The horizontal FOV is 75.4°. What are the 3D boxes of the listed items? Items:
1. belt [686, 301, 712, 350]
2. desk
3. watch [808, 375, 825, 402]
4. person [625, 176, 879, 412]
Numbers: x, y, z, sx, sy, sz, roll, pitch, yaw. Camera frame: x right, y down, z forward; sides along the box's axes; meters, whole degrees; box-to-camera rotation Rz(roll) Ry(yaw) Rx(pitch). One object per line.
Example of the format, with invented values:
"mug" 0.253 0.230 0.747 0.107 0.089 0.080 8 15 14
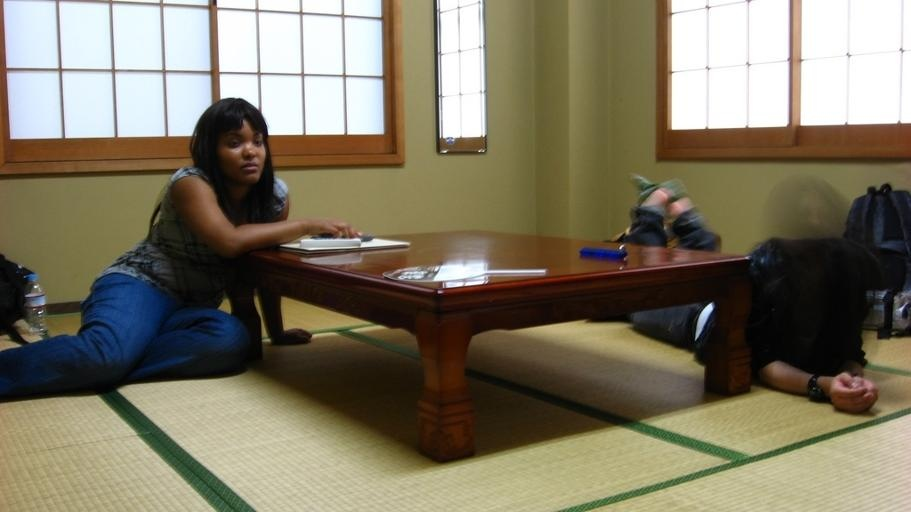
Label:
"belt" 1.154 0.325 2.781 0.055 0.194 0.219 15 -16 10
"desk" 0.200 0.281 2.660 1.956 0.621 1.135 -5 14 -18
"watch" 1.491 0.551 2.444 0.067 0.092 0.086 -12 29 12
"person" 1.408 0.100 2.952 0.618 0.654 1.591 3 17 -22
